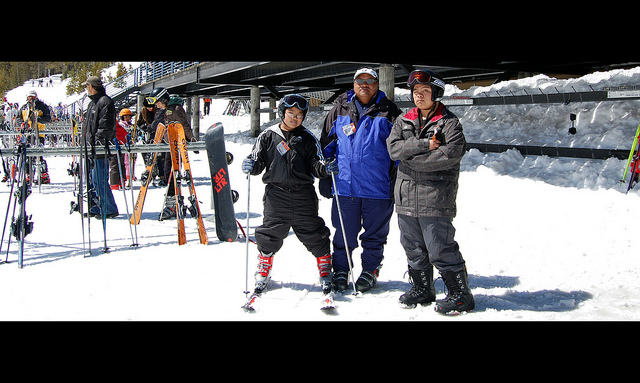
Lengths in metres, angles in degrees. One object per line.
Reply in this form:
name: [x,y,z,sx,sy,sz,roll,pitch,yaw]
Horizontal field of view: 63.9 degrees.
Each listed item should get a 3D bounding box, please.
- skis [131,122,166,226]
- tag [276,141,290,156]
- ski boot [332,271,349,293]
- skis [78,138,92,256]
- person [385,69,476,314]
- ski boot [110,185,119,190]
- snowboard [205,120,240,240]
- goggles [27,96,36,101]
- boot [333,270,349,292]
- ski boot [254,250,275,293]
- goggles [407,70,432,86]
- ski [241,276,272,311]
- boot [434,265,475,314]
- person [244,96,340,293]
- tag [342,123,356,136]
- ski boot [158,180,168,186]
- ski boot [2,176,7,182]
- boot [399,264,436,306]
skis: [-3.445,-0.361,10.314,0.280,2.477,0.274,12,-7,5]
tag: [-0.439,-0.539,6.044,0.128,0.123,0.013,-43,2,0]
ski boot: [0.247,1.099,6.343,0.224,0.160,0.226,-4,-29,-6]
skis: [-3.628,-0.108,7.835,0.228,1.706,0.117,-10,28,-38]
person: [1.277,-0.017,5.861,1.027,2.724,0.559,3,13,19]
ski boot: [-4.680,-0.131,11.625,0.286,0.116,0.096,3,-1,4]
snowboard: [-1.531,-0.141,7.939,0.484,1.924,0.388,-4,8,29]
goggles: [-6.673,-2.190,11.805,0.207,0.089,0.138,1,13,10]
boot: [0.256,1.095,6.338,0.092,0.222,0.168,4,3,-11]
ski boot: [-0.685,0.954,6.358,0.173,0.449,0.500,3,16,11]
goggles: [1.119,-1.296,5.749,0.269,0.171,0.135,1,12,10]
ski: [-0.771,1.240,6.216,0.191,0.089,0.500,13,26,6]
boot: [1.537,1.177,5.927,0.587,0.556,0.251,-2,-26,-27]
person: [-0.334,0.003,6.102,1.033,2.273,0.407,-2,12,-1]
tag: [0.355,-0.769,6.193,0.151,0.148,0.063,-1,12,0]
ski boot: [-3.601,-0.227,11.739,0.111,0.136,0.353,-3,9,-41]
ski boot: [-8.183,-0.352,13.260,0.146,0.141,0.052,1,15,-3]
boot: [1.150,1.112,6.097,0.530,0.484,0.265,-1,4,-33]
